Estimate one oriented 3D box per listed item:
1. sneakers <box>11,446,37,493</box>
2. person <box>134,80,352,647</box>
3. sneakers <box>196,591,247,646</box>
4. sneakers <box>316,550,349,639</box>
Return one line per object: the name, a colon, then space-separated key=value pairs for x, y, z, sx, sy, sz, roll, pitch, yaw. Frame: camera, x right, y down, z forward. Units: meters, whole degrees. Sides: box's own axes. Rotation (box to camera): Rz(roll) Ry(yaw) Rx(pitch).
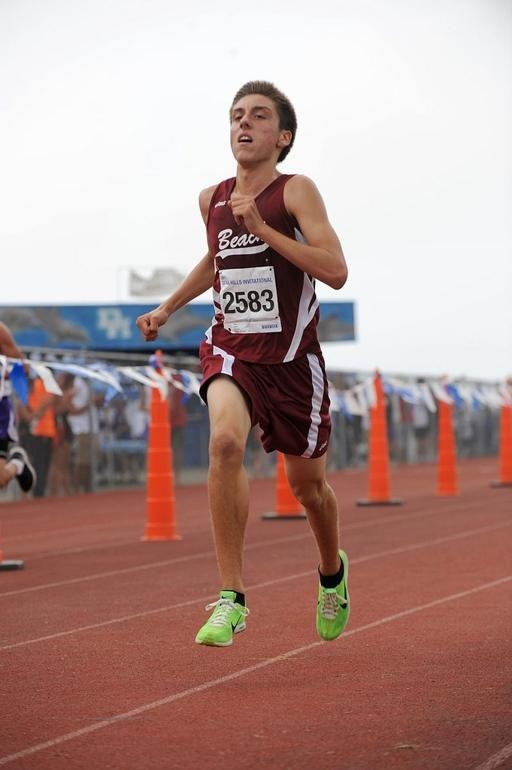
sneakers: x=-1.425 y=0.480 z=4.516 sx=0.109 sy=0.294 sz=0.129 roll=-40 pitch=-44 yaw=20
person: x=-0.035 y=-0.127 z=2.540 sx=0.647 sy=1.392 sz=0.869 roll=-4 pitch=-2 yaw=-8
sneakers: x=-0.095 y=0.665 z=2.135 sx=0.099 sy=0.093 sz=0.211 roll=5 pitch=0 yaw=10
sneakers: x=0.286 y=0.759 z=2.797 sx=0.124 sy=0.334 sz=0.124 roll=1 pitch=-29 yaw=11
